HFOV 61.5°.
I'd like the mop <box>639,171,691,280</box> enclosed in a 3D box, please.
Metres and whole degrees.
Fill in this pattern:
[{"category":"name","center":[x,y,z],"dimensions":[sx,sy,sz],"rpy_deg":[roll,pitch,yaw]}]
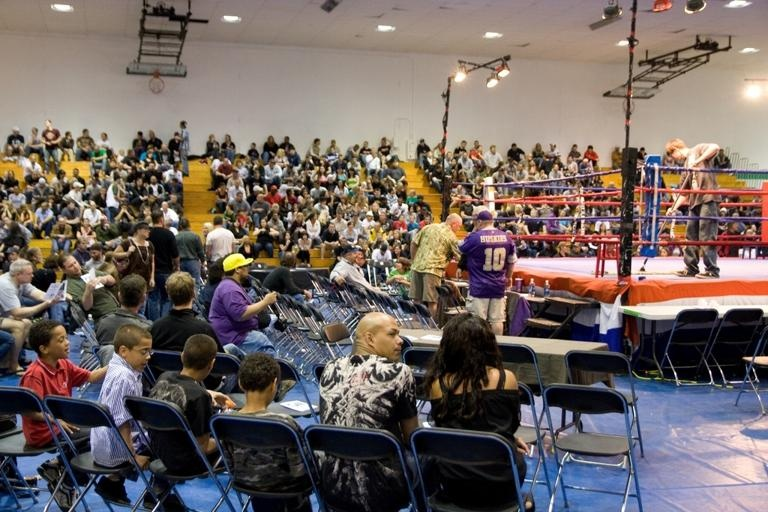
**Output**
[{"category":"mop","center":[4.124,-0.831,10.030],"dimensions":[0.444,1.552,0.393],"rpy_deg":[8,-5,12]}]

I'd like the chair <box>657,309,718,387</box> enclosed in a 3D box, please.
[{"category":"chair","center":[4.518,1.314,9.531],"dimensions":[0.648,1.084,0.847],"rpy_deg":[3,-1,9]}]
